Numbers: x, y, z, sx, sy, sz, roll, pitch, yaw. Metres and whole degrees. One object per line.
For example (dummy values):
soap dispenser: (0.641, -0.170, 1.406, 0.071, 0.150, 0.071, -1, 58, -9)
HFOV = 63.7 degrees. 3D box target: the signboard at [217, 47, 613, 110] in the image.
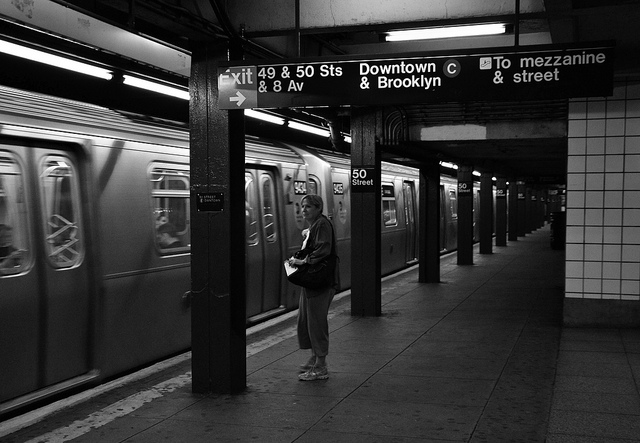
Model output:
signboard: (0.900, -1.433, 5.171, 3.752, 0.491, 0.171, 1, 4, 10)
